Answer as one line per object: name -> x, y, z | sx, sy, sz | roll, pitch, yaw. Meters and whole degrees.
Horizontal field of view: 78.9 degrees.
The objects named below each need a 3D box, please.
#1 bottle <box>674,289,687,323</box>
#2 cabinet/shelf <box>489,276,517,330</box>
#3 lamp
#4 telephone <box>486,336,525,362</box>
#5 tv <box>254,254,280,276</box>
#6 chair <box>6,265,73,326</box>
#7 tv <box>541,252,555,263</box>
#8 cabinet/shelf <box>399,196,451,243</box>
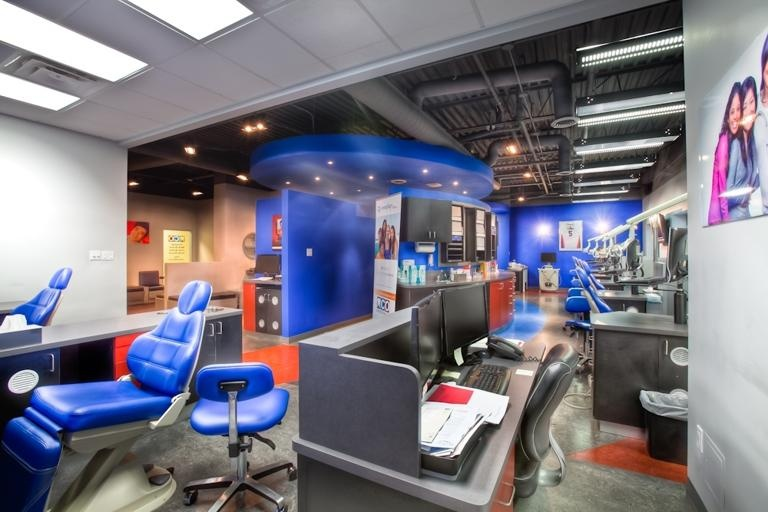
bottle -> 3.016, 0.519, 4.723 | 0.096, 0.348, 0.159 | 0, 1, 26
cabinet/shelf -> 2.156, 0.864, 8.484 | 0.591, 0.654, 0.978 | -2, -1, 23
lamp -> 3.620, -2.491, 7.129 | 1.623, 2.565, 0.568 | -4, 23, 30
telephone -> 1.112, 0.838, 4.212 | 0.292, 0.108, 0.171 | -4, -1, 37
tv -> -2.151, 0.162, 8.698 | 0.462, 0.428, 0.123 | -1, -4, 22
chair -> -3.571, 0.465, 4.738 | 0.465, 0.652, 0.604 | 3, -1, 26
tv -> 5.699, 0.075, 16.051 | 0.524, 0.374, 0.301 | 2, 5, 27
cabinet/shelf -> 0.712, -0.646, 8.361 | 0.891, 0.641, 0.329 | 1, 3, -40
